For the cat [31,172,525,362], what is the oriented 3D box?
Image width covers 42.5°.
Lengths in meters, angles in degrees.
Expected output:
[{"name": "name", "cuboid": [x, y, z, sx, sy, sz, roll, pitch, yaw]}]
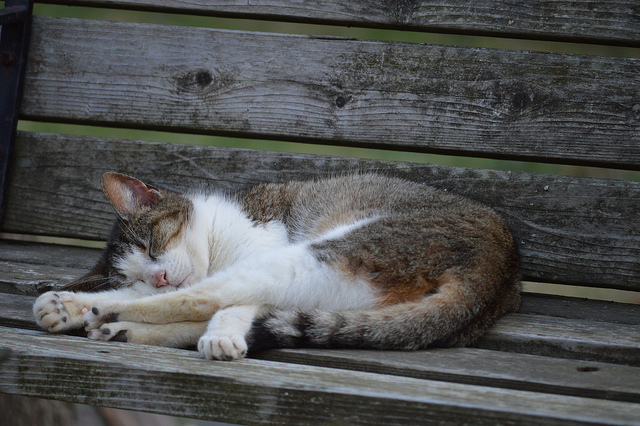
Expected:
[{"name": "cat", "cuboid": [-0.157, 0.397, 5.340, 2.268, 0.775, 1.491, -4, -5, -2]}]
